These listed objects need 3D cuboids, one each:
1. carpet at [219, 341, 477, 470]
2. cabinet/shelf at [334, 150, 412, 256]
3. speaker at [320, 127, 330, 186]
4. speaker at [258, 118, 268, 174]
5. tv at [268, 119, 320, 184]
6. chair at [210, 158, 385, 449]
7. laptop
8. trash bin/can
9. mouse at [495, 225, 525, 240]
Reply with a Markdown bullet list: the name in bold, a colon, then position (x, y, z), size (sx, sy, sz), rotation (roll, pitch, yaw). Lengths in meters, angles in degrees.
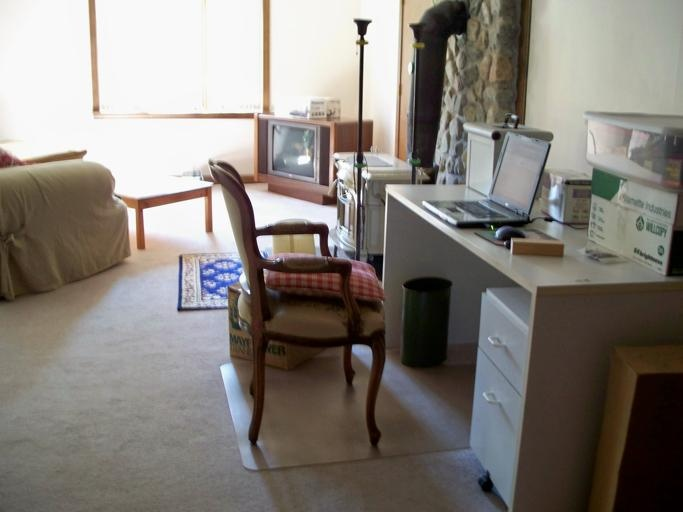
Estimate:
- **carpet**: position (-0.001, 0.759, 2.624), size (0.979, 1.072, 0.014), rotation (-18, 30, 39)
- **cabinet/shelf**: position (0.159, -0.478, 4.244), size (0.581, 0.834, 1.120), rotation (0, 19, -4)
- **speaker**: position (-0.199, -1.093, 5.972), size (0.132, 0.642, 0.064), rotation (1, 1, -35)
- **speaker**: position (-0.920, -1.305, 6.440), size (0.115, 0.664, 0.072), rotation (0, 29, -8)
- **tv**: position (-0.510, -1.190, 6.158), size (0.553, 0.521, 0.306), rotation (14, 20, 35)
- **chair**: position (-0.197, 0.163, 2.600), size (0.811, 1.202, 0.789), rotation (1, 13, 7)
- **laptop**: position (0.671, -0.360, 2.501), size (0.374, 0.340, 0.461), rotation (-2, 17, -5)
- **trash bin/can**: position (0.452, 0.362, 3.021), size (0.293, 0.454, 0.254), rotation (-6, 16, -19)
- **mouse**: position (0.663, -0.093, 2.164), size (0.101, 0.037, 0.064), rotation (-7, 21, -27)
